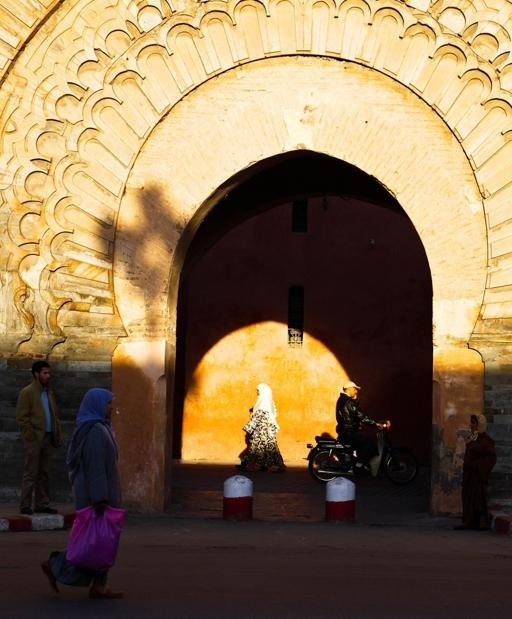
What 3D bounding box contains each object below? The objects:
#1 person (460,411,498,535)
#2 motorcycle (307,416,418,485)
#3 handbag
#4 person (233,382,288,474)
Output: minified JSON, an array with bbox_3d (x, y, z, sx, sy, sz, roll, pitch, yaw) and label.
[{"bbox_3d":[2.057,1.499,6.099,0.303,1.028,0.211,-1,-13,16],"label":"person"},{"bbox_3d":[1.770,2.391,10.689,1.775,0.965,0.841,1,-10,-2],"label":"motorcycle"},{"bbox_3d":[-0.779,1.113,3.196,0.259,0.297,0.159,5,-12,-13],"label":"handbag"},{"bbox_3d":[0.155,2.257,12.586,0.825,1.610,0.326,2,-12,1],"label":"person"}]
